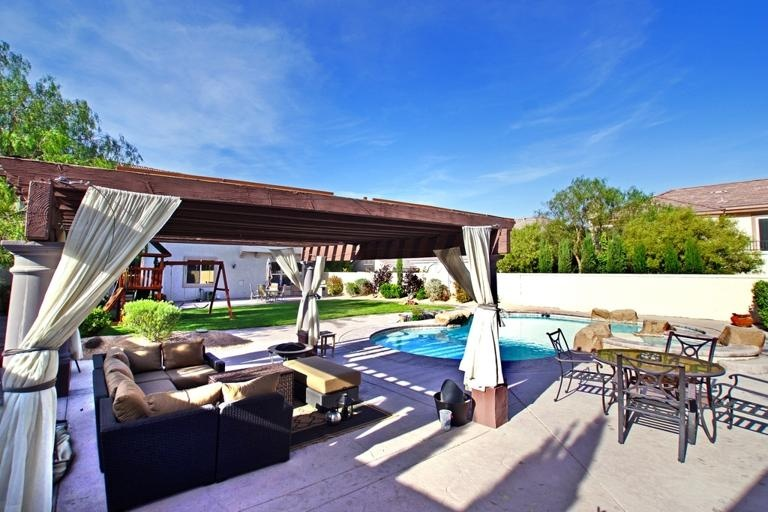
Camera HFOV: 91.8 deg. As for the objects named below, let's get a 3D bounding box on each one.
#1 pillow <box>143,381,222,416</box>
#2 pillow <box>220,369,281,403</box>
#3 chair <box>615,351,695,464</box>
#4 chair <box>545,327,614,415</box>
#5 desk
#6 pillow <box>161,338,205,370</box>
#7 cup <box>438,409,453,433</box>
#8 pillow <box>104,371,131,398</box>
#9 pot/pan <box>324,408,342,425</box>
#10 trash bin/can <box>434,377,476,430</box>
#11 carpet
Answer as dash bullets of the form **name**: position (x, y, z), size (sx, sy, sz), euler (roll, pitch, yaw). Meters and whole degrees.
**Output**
- **pillow**: position (-3.116, 2.243, 5.882), size (1.092, 0.318, 0.344), euler (-5, 14, -20)
- **pillow**: position (-2.203, 2.162, 6.165), size (0.855, 0.518, 0.497), euler (2, 0, -32)
- **chair**: position (5.246, 2.618, 7.090), size (1.218, 1.737, 1.238), euler (1, 10, 42)
- **chair**: position (4.862, 2.682, 9.211), size (1.455, 1.522, 1.227), euler (0, 2, 40)
- **desk**: position (5.250, 2.202, 7.443), size (1.595, 0.473, 1.604), euler (-2, 2, -11)
- **pillow**: position (-4.627, 2.251, 8.594), size (0.660, 0.400, 0.209), euler (-1, -33, -27)
- **cup**: position (1.184, 3.115, 7.177), size (0.236, 0.354, 0.258), euler (-1, 14, 0)
- **pillow**: position (-4.497, 2.102, 6.286), size (0.155, 0.430, 0.490), euler (-21, 21, -35)
- **pot/pan**: position (-0.985, 3.095, 7.325), size (0.265, 0.242, 0.267), euler (-1, -1, -30)
- **trash bin/can**: position (1.385, 2.886, 7.398), size (0.759, 0.784, 0.636), euler (2, 14, 10)
- **carpet**: position (-0.988, 3.244, 7.387), size (1.912, 0.104, 0.959), euler (-6, 13, -27)
